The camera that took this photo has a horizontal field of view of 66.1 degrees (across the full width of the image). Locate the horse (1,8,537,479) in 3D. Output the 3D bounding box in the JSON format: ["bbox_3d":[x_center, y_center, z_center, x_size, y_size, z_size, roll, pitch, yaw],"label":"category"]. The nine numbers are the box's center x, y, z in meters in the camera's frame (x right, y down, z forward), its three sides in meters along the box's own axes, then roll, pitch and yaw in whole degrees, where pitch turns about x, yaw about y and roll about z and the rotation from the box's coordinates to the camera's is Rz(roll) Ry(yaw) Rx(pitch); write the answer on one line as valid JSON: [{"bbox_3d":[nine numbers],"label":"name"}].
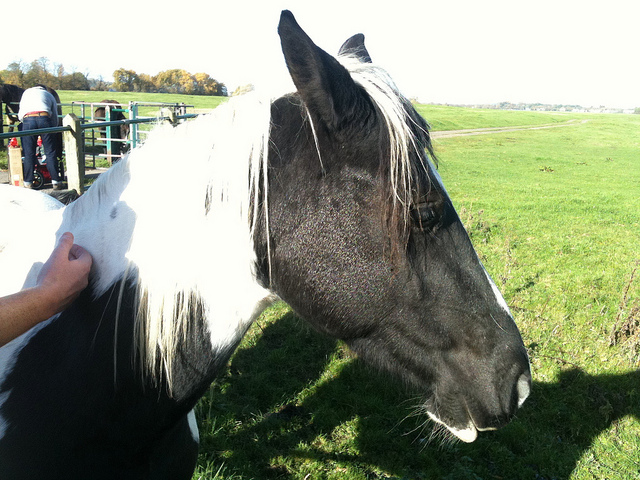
[{"bbox_3d":[-0.836,0.140,3.394,3.819,2.710,1.321,-14,6,19],"label":"horse"}]

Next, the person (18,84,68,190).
[{"bbox_3d":[-5.544,-2.052,9.801,0.715,2.250,0.658,-3,-6,-29],"label":"person"}]
